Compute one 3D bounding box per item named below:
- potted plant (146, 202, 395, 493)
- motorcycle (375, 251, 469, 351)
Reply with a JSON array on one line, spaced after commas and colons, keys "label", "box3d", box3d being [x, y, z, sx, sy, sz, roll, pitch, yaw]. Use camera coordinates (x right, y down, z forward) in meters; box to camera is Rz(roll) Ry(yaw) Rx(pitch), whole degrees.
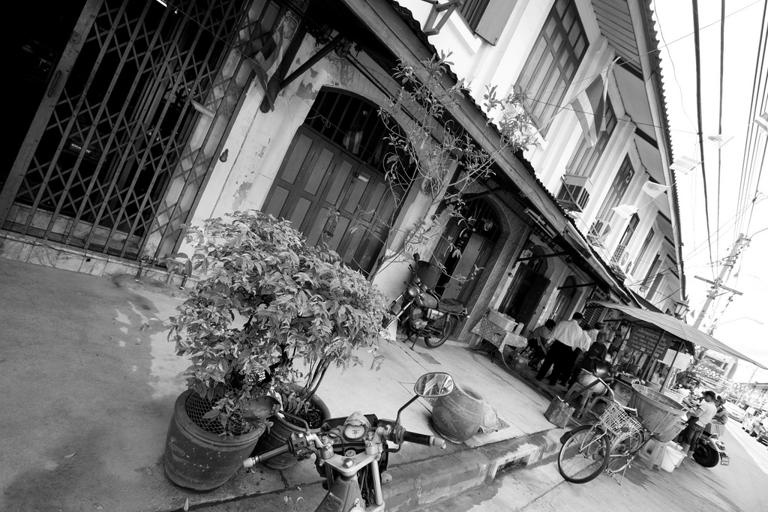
[{"label": "potted plant", "box3d": [-1.480, 1.176, 5.673, 2.271, 2.596, 1.995, 38, -7, 15]}, {"label": "motorcycle", "box3d": [1.084, 1.372, 11.327, 2.397, 1.650, 1.454, 29, 11, -49]}]
